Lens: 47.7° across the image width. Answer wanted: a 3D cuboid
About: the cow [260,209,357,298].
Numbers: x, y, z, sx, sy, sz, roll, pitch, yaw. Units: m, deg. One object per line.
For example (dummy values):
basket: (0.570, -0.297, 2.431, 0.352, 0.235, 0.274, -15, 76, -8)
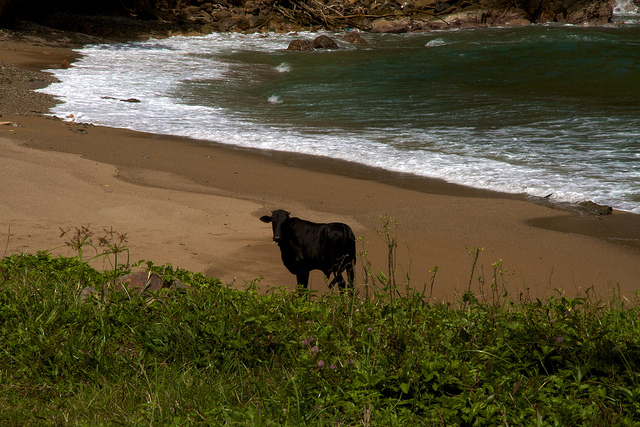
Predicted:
cow: (-0.174, 0.998, 15.802, 2.540, 1.614, 1.000, 4, 2, 43)
